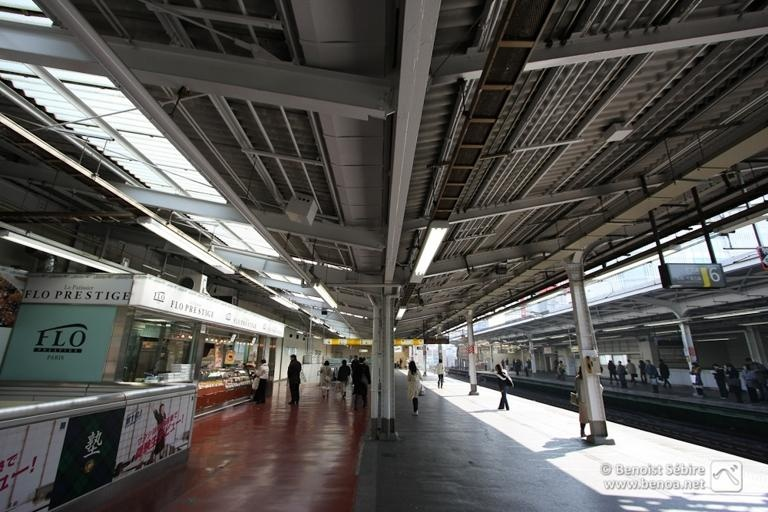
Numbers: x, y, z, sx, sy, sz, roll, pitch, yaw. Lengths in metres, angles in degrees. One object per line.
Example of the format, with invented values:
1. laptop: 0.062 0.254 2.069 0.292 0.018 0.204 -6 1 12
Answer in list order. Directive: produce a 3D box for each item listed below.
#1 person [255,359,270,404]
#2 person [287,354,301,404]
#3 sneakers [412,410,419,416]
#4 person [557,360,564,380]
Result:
1. person: -4.889 4.978 14.098 0.422 1.431 0.418 6 -16 -17
2. person: -3.374 4.626 13.386 0.441 1.803 0.908 5 -15 -15
3. sneakers: 1.147 5.272 11.950 0.138 0.122 0.308 -1 -27 -2
4. person: 11.930 7.506 23.487 0.327 1.120 1.327 -5 -15 22
